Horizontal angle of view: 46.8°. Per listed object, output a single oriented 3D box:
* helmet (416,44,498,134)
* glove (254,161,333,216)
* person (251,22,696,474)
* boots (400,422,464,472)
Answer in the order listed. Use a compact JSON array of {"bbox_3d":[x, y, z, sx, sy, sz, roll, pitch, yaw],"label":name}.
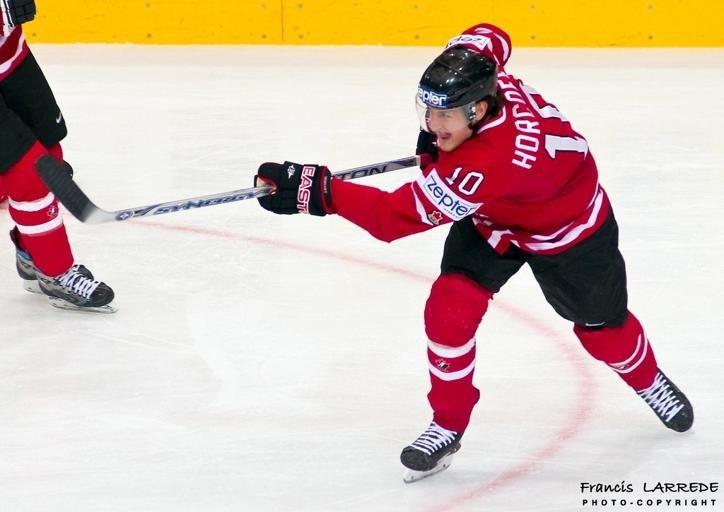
[{"bbox_3d":[0.315,-0.549,2.760,0.298,0.239,0.223,-19,45,-12],"label":"helmet"},{"bbox_3d":[-0.227,-0.226,2.804,0.270,0.155,0.087,8,27,23],"label":"glove"},{"bbox_3d":[0.433,0.009,2.869,1.364,1.400,0.569,-7,26,-12],"label":"person"},{"bbox_3d":[0.235,0.645,2.904,0.092,0.092,0.282,21,27,39],"label":"boots"}]
